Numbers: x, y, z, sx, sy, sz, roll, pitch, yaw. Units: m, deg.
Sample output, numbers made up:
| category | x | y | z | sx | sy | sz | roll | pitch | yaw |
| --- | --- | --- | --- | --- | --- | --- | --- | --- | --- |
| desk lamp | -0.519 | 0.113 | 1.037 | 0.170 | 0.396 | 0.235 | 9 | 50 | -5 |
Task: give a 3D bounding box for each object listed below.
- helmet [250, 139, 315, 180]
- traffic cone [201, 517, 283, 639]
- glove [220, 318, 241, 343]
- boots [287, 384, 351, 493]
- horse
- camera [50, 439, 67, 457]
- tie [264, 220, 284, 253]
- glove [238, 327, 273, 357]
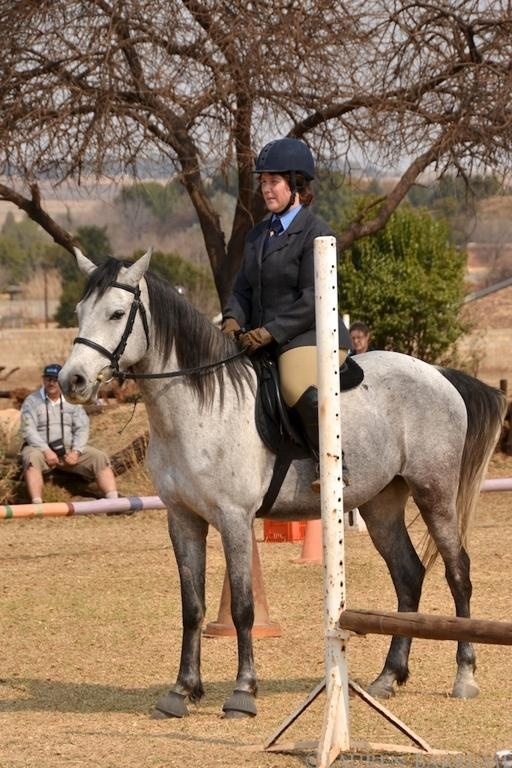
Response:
| category | x | y | z | sx | sy | sz | roll | pitch | yaw |
| --- | --- | --- | --- | --- | --- | --- | --- | --- | --- |
| helmet | 0.157 | -1.210 | 5.758 | 0.345 | 0.224 | 0.231 | -3 | 5 | -15 |
| traffic cone | -0.073 | 1.260 | 7.320 | 0.631 | 0.846 | 0.590 | -2 | -5 | 0 |
| glove | -0.124 | -0.296 | 5.896 | 0.100 | 0.120 | 0.043 | 2 | -35 | -16 |
| boots | 0.357 | 0.272 | 5.523 | 0.306 | 0.531 | 0.496 | -2 | 5 | -6 |
| horse | 0.218 | 0.528 | 5.821 | 2.621 | 2.450 | 0.738 | -4 | 6 | -30 |
| camera | -2.111 | 0.675 | 11.568 | 0.132 | 0.203 | 0.121 | -21 | 21 | -17 |
| tie | 0.089 | -0.812 | 5.856 | 0.067 | 0.173 | 0.131 | 23 | -14 | -23 |
| glove | -0.004 | -0.223 | 5.699 | 0.173 | 0.145 | 0.271 | -1 | 5 | -1 |
